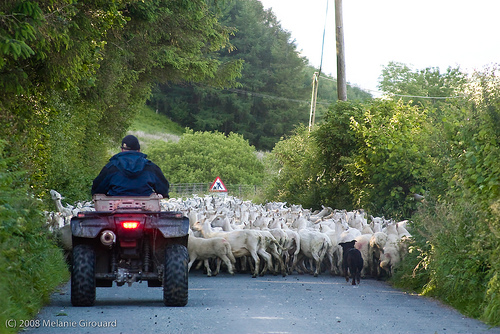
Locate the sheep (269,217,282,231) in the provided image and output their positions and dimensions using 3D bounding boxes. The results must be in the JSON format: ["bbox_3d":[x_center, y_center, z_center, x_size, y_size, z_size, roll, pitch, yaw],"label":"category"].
[{"bbox_3d":[0.918,2.041,21.793,0.222,0.616,0.566,16,-2,27],"label":"sheep"}]

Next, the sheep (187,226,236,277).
[{"bbox_3d":[-1.268,2.761,19.377,1.464,1.490,1.416,2,3,-4],"label":"sheep"}]

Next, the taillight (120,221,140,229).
[{"bbox_3d":[-2.651,1.263,13.232,0.418,0.168,0.050,2,3,0],"label":"taillight"}]

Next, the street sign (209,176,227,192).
[{"bbox_3d":[-2.935,1.529,54.803,1.492,1.394,0.071,1,13,1],"label":"street sign"}]

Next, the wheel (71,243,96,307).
[{"bbox_3d":[-3.698,2.379,13.301,0.485,1.291,0.397,1,3,-21],"label":"wheel"}]

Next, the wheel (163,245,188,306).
[{"bbox_3d":[-1.382,2.394,13.613,0.641,1.168,1.158,0,4,-2],"label":"wheel"}]

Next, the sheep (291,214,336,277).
[{"bbox_3d":[2.131,2.693,20.327,0.967,1.853,1.715,1,-8,4],"label":"sheep"}]

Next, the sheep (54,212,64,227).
[{"bbox_3d":[-6.222,1.695,19.607,0.308,0.360,1.086,1,3,-18],"label":"sheep"}]
